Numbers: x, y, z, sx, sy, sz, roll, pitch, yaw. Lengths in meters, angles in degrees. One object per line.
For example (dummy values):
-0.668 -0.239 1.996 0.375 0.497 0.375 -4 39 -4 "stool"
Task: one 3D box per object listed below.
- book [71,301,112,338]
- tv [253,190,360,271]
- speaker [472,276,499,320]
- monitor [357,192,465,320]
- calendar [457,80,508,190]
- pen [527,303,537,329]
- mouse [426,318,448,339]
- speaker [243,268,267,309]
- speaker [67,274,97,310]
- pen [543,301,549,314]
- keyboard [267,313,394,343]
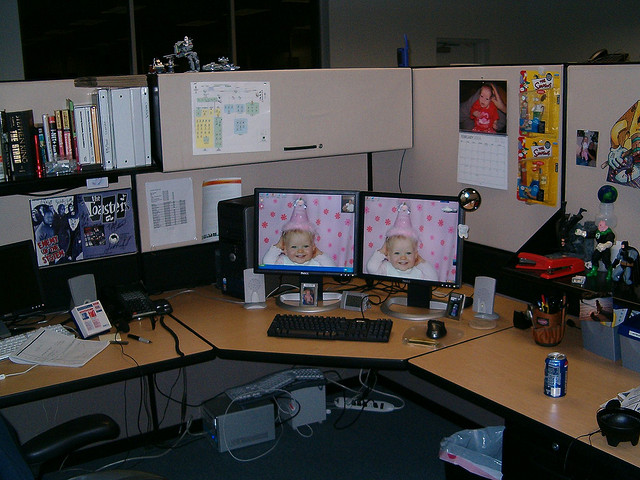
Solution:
-1.031 0.359 2.376 0.134 0.119 0.109 -13 17 -41 "book"
-0.047 -0.060 2.592 0.359 0.301 0.036 2 5 4 "tv"
0.739 0.257 2.407 0.109 0.185 0.117 7 3 25 "speaker"
0.411 -0.006 2.487 0.498 0.420 0.077 4 13 21 "monitor"
0.806 -0.526 2.619 0.032 0.518 0.276 -10 15 -38 "calendar"
0.886 0.319 2.223 0.027 0.073 0.022 -14 6 18 "pen"
0.505 0.373 2.294 0.076 0.069 0.079 -2 9 17 "mouse"
-0.322 0.236 2.607 0.111 0.193 0.118 -1 10 -2 "speaker"
-1.089 0.246 2.428 0.111 0.144 0.149 -8 14 -27 "speaker"
0.923 0.282 2.165 0.024 0.045 0.028 2 5 26 "pen"
0.045 0.384 2.360 0.540 0.055 0.187 1 14 9 "keyboard"
